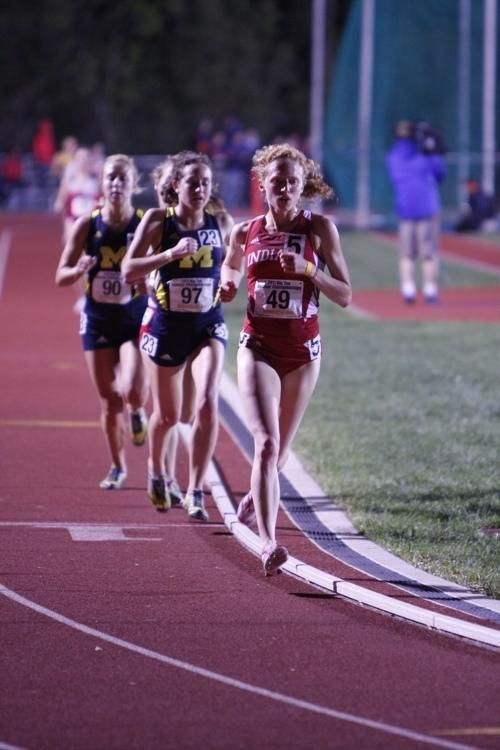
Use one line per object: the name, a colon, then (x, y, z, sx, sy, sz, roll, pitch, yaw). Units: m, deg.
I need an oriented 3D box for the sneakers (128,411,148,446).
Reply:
sneakers: (-0.734, 0.353, 6.068, 0.103, 0.269, 0.125, -2, 36, -6)

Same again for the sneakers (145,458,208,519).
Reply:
sneakers: (-0.398, 0.657, 4.910, 0.164, 0.212, 0.510, 22, -6, -33)

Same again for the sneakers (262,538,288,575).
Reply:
sneakers: (0.106, 0.810, 3.954, 0.098, 0.201, 0.087, 6, 33, -18)

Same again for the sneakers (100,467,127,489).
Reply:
sneakers: (-0.850, 0.660, 5.768, 0.099, 0.078, 0.196, 8, 17, -6)

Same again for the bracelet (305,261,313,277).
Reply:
bracelet: (0.266, -0.461, 4.005, 0.021, 0.054, 0.041, 9, 45, 6)

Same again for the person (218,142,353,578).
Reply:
person: (0.180, -0.125, 4.218, 0.587, 1.886, 0.952, 0, 7, -5)
